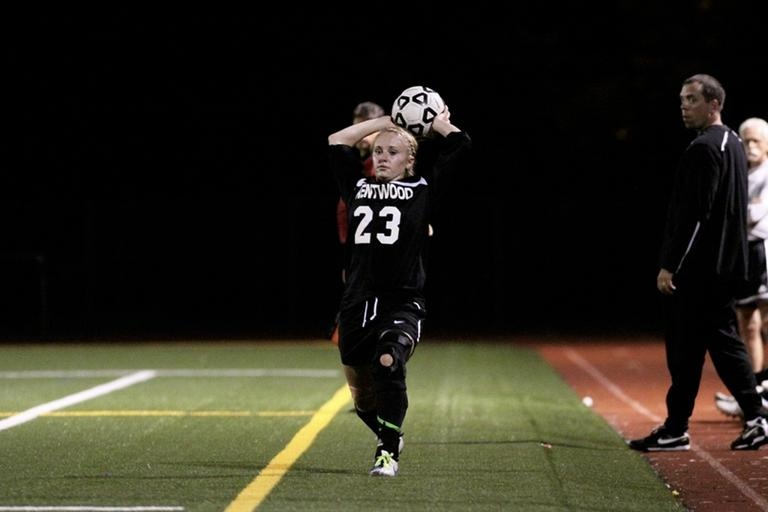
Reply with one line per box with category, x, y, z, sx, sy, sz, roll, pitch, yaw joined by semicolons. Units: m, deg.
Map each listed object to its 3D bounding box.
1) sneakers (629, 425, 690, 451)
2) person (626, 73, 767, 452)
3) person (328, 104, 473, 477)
sneakers;2.223;1.480;5.872;0.525;0.220;0.191;1;-8;0
person;2.617;0.112;5.807;1.052;3.082;0.731;3;10;11
person;0.049;0.275;5.251;0.889;2.577;0.961;0;10;-5
